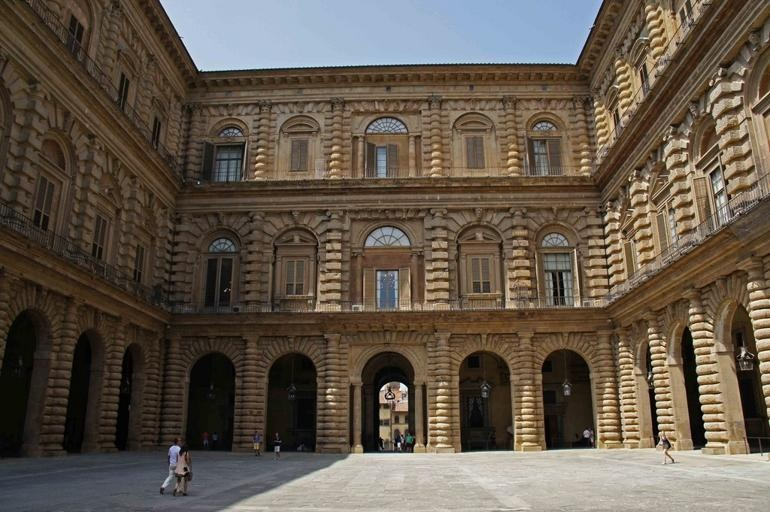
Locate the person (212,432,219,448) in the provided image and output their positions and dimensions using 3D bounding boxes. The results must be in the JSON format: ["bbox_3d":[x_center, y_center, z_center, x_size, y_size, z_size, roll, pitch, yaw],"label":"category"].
[{"bbox_3d":[-10.982,11.883,38.705,0.375,1.003,0.727,-3,-21,7],"label":"person"}]

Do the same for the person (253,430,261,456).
[{"bbox_3d":[-7.183,10.569,33.804,0.418,1.431,2.277,4,-22,-11],"label":"person"}]

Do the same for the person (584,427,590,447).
[{"bbox_3d":[12.695,11.337,37.289,0.509,1.008,1.058,-7,-22,17],"label":"person"}]

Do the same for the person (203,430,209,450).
[{"bbox_3d":[-11.325,11.723,37.975,0.446,1.102,1.346,6,-22,-17],"label":"person"}]

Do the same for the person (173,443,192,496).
[{"bbox_3d":[-6.618,7.014,19.630,0.491,1.556,1.334,6,-22,-17],"label":"person"}]
